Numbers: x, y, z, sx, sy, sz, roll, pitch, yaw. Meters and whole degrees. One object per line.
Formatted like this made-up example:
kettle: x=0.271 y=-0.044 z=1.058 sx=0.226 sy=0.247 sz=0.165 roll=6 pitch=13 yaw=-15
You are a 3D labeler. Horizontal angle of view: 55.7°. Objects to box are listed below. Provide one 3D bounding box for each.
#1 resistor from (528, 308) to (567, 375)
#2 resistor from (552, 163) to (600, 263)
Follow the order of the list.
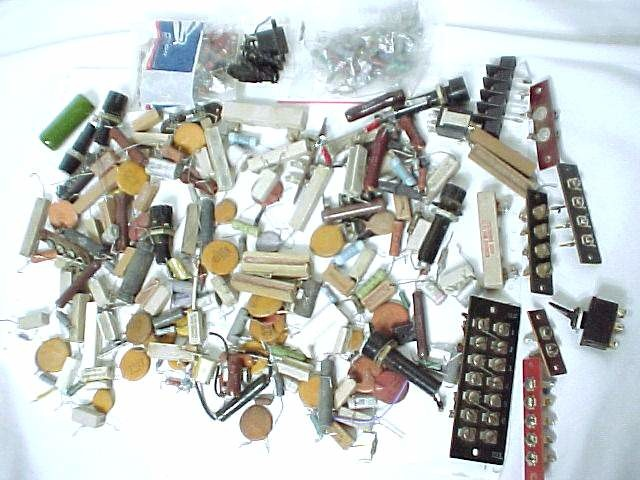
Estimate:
resistor: x=1.248 y=0.559 z=3.364 sx=0.127 sy=0.108 sz=0.443 roll=-13 pitch=83 yaw=4
resistor: x=1.423 y=-0.147 z=3.328 sx=0.116 sy=0.116 sz=0.569 roll=-12 pitch=75 yaw=-1
